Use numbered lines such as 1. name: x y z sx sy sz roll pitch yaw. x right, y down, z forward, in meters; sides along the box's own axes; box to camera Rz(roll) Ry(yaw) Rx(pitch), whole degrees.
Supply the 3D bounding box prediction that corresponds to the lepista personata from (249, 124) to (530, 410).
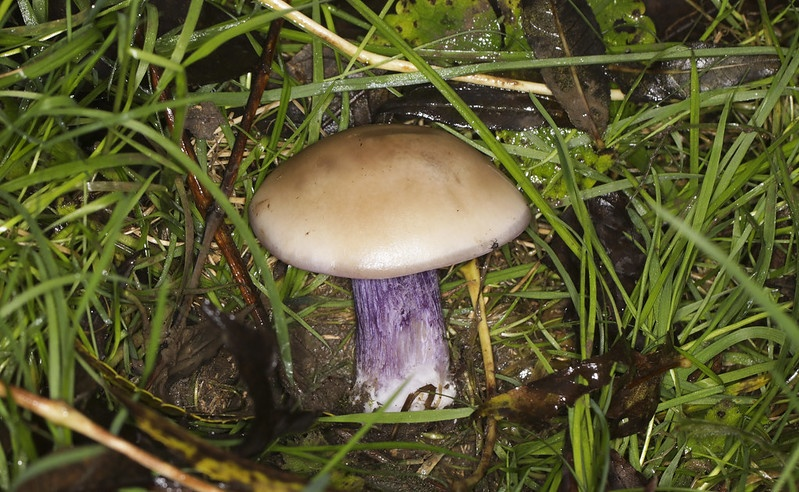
1. lepista personata: 0.000 0.091 2.964 0.915 1.085 0.957 -1 14 9
